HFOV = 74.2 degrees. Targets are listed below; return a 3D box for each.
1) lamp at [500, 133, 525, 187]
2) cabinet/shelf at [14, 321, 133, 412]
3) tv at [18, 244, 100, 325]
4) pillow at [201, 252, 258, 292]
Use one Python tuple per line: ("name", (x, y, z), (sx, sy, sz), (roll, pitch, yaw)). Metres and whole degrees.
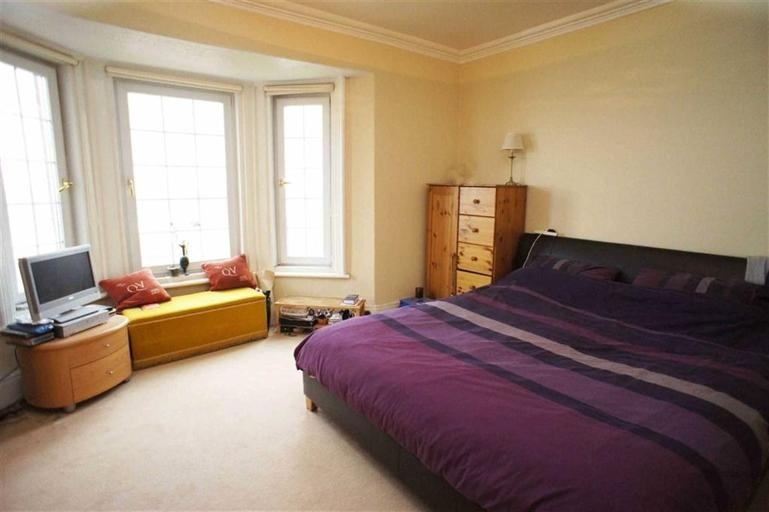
("lamp", (1.399, -1.080, 5.665), (0.279, 0.560, 0.275), (5, 12, 32))
("cabinet/shelf", (-2.822, 0.900, 4.642), (0.789, 0.722, 0.879), (10, 22, 7))
("tv", (-2.836, 0.264, 4.405), (0.237, 0.620, 0.642), (-5, 8, 19))
("pillow", (-1.736, 0.194, 5.767), (0.547, 0.382, 0.310), (-7, 11, -32))
